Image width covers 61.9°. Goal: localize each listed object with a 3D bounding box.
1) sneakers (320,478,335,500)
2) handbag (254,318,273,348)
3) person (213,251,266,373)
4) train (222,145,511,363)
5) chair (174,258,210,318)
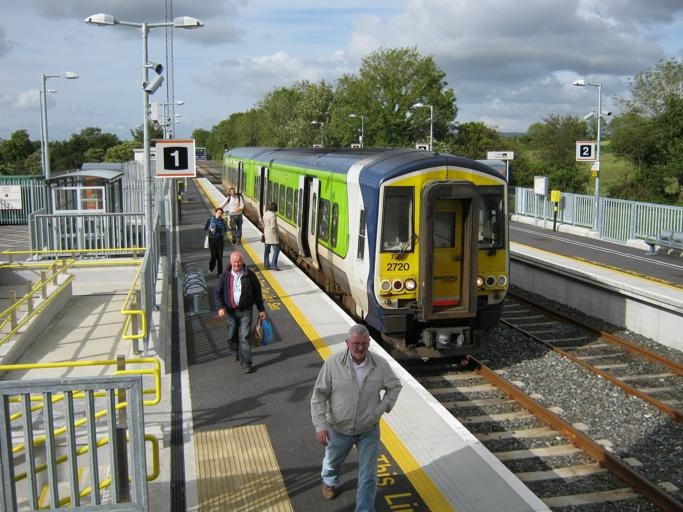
[{"bbox_3d":[-0.158,2.703,6.603,0.117,0.119,0.247,4,7,-14],"label":"sneakers"},{"bbox_3d":[-1.291,1.225,9.357,0.259,0.461,0.174,-8,10,-37],"label":"handbag"},{"bbox_3d":[-1.721,0.951,9.581,0.768,2.162,1.054,-4,8,-13],"label":"person"},{"bbox_3d":[-0.693,-2.158,20.570,3.160,4.435,21.133,-1,12,-18],"label":"train"},{"bbox_3d":[-3.659,0.780,14.007,0.550,0.619,2.183,-1,19,-13],"label":"chair"}]
